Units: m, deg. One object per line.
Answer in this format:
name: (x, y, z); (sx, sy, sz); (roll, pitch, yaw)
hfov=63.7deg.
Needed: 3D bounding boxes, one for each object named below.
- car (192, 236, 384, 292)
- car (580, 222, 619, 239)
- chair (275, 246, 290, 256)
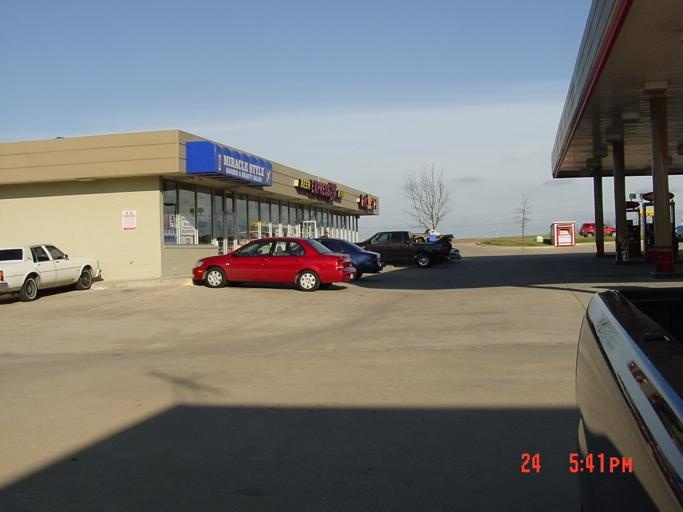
car: (-2.223, 0.258, 19.830); (5.134, 1.606, 2.198); (1, 0, 15)
car: (34.726, -3.424, 74.830); (3.874, 1.746, 9.573); (-1, 2, 26)
chair: (-2.070, -0.181, 19.130); (0.516, 0.350, 0.177); (-1, 2, 15)
